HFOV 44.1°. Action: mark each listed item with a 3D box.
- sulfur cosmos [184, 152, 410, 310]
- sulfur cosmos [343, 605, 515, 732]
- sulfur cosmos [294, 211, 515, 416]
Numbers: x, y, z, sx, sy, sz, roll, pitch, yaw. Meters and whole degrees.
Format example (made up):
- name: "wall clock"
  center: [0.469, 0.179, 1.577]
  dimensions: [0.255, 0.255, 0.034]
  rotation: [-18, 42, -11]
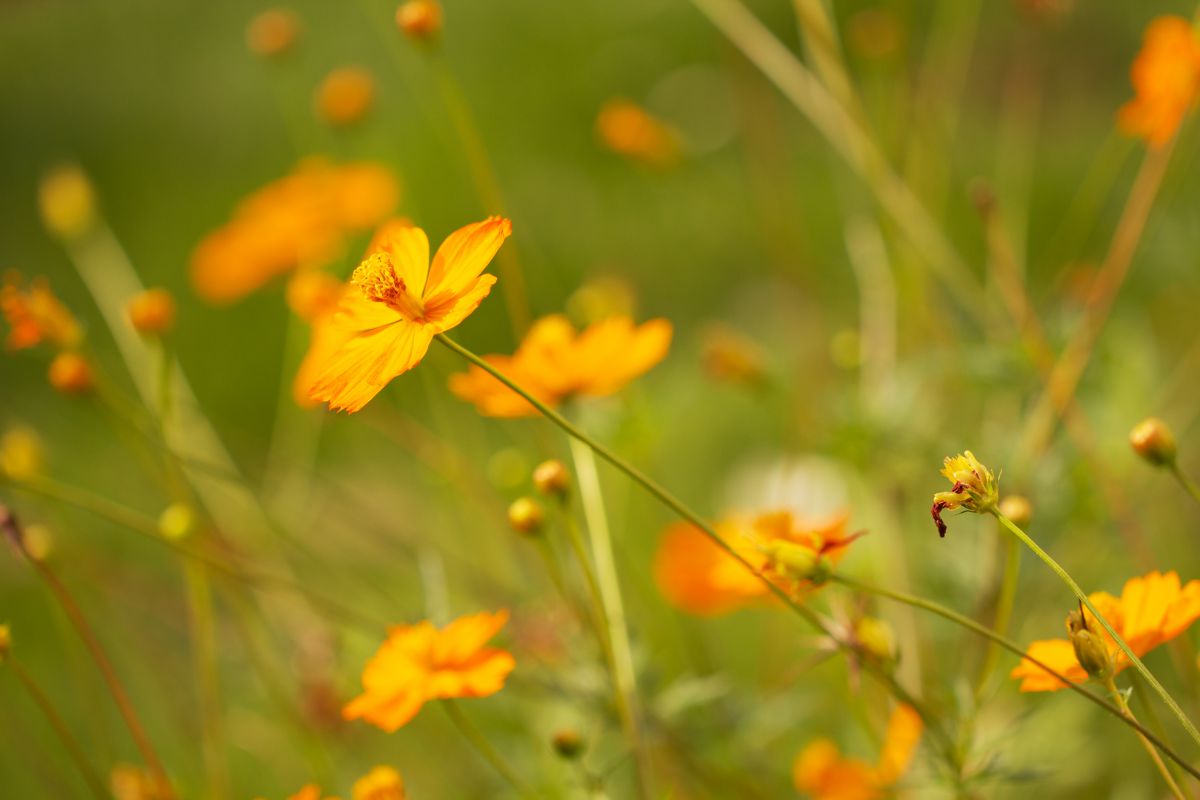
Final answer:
- name: "sulfur cosmos"
  center: [-0.220, -0.127, 1.043]
  dimensions: [0.175, 0.064, 0.113]
  rotation: [-13, 15, 16]
- name: "sulfur cosmos"
  center: [-0.100, 0.159, 0.877]
  dimensions: [0.101, 0.048, 0.111]
  rotation: [-8, -2, -34]
- name: "sulfur cosmos"
  center: [-0.120, -0.066, 0.936]
  dimensions: [0.153, 0.058, 0.166]
  rotation: [-26, -17, -31]
